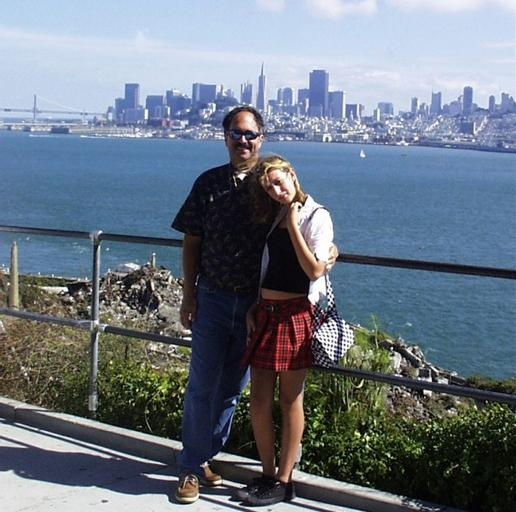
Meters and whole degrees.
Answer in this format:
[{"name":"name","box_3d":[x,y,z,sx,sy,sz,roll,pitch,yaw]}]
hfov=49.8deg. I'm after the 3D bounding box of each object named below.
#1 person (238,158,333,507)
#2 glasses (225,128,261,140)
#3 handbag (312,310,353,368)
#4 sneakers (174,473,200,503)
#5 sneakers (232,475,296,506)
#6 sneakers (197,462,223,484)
[{"name":"person","box_3d":[0.144,0.354,2.754,0.499,1.708,0.366,-1,1,8]},{"name":"glasses","box_3d":[-0.077,-0.645,2.941,0.171,0.068,0.079,-1,2,-7]},{"name":"handbag","box_3d":[0.363,0.392,2.706,0.236,0.253,0.208,-1,1,-14]},{"name":"sneakers","box_3d":[-0.353,1.155,2.747,0.116,0.112,0.122,-1,2,-11]},{"name":"sneakers","box_3d":[0.048,1.139,2.737,0.213,0.098,0.129,1,0,-27]},{"name":"sneakers","box_3d":[-0.251,1.158,2.957,0.061,0.137,0.179,-3,-11,-33]}]
